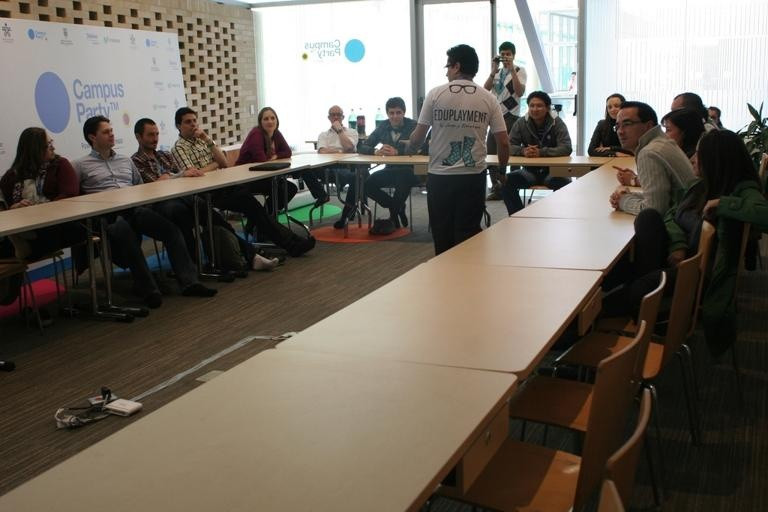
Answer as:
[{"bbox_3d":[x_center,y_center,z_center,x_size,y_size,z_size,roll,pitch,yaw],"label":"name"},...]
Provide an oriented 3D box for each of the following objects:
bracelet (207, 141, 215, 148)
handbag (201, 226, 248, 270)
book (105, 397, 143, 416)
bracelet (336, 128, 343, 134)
[{"bbox_3d":[-2.117,-1.381,6.352,0.088,0.067,0.100,3,5,4],"label":"bracelet"},{"bbox_3d":[-1.711,-0.125,5.772,0.309,0.609,0.591,-8,13,-7],"label":"handbag"},{"bbox_3d":[-1.587,0.915,3.160,0.121,0.036,0.118,8,13,14],"label":"book"},{"bbox_3d":[-0.658,-1.920,7.882,0.100,0.117,0.074,3,12,10],"label":"bracelet"}]
